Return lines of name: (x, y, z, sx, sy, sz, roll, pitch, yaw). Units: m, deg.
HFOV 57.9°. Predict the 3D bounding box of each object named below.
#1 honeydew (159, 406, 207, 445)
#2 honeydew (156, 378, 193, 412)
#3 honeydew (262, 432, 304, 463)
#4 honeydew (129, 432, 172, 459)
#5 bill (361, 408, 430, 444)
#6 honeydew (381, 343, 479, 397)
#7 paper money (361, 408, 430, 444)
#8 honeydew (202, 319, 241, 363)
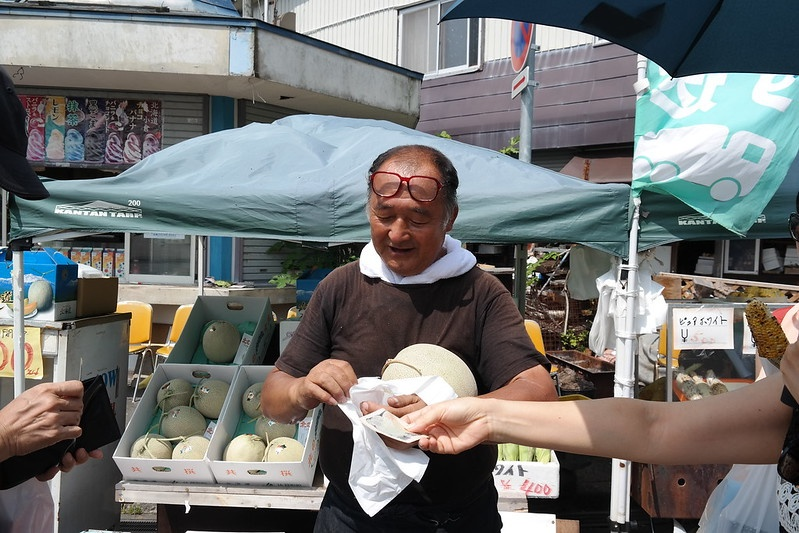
honeydew: (-1.863, 1.386, 6.350, 0.296, 0.354, 0.284, -12, 35, 22)
honeydew: (-1.980, 1.149, 6.509, 0.274, 0.272, 0.275, 5, -26, 22)
honeydew: (-0.954, 1.507, 6.024, 0.198, 0.140, 0.249, 8, -6, -42)
honeydew: (-2.079, 1.526, 6.144, 0.229, 0.137, 0.227, 14, 28, -2)
bill: (-0.033, 0.961, 4.525, 0.351, 0.180, 0.357, -1, 2, -20)
honeydew: (0.193, 0.658, 4.603, 0.594, 0.317, 0.176, 1, -3, -2)
paper money: (-0.039, 0.973, 4.413, 0.382, 0.180, 0.110, 1, -3, 1)
honeydew: (-1.696, 0.729, 6.943, 0.356, 0.393, 0.214, 2, -3, -16)
